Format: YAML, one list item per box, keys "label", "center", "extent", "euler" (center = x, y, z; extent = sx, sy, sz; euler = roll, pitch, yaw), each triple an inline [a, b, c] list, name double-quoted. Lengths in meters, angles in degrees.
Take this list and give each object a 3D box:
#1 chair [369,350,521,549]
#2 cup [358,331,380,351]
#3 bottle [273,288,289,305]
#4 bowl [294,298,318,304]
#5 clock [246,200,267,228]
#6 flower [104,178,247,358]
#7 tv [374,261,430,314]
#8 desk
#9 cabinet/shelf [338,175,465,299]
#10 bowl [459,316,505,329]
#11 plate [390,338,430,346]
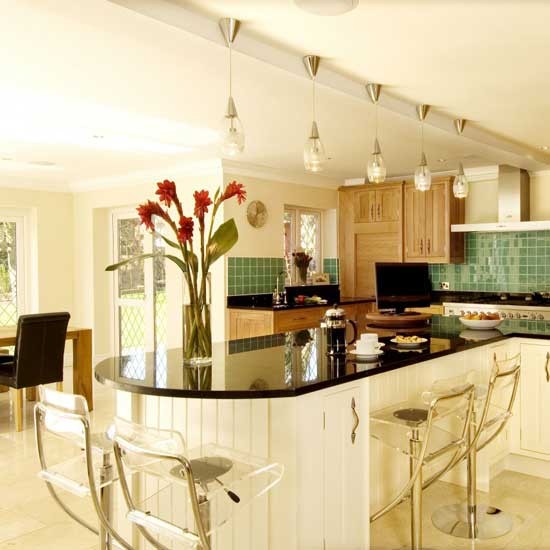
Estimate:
- label: "chair"
  center: [0.795, 0.857, 2.479]
  extent: [0.376, 0.801, 0.924]
  euler: [0, 0, 38]
- label: "cup"
  center: [0.429, 0.302, 2.338]
  extent: [0.093, 0.067, 0.072]
  euler: [3, 4, 40]
- label: "bottle"
  center: [0.062, 0.244, 5.758]
  extent: [0.165, 0.173, 0.138]
  euler: [2, 6, 16]
- label: "bowl"
  center: [0.321, 0.296, 5.764]
  extent: [0.113, 0.059, 0.116]
  euler: [-3, -5, 0]
- label: "clock"
  center: [-0.217, -0.693, 5.809]
  extent: [0.025, 0.310, 0.312]
  euler: [0, 6, 35]
- label: "flower"
  center: [-0.348, 0.010, 2.122]
  extent: [0.415, 0.724, 0.590]
  euler: [1, 3, 40]
- label: "tv"
  center: [0.883, 0.089, 3.494]
  extent: [0.130, 0.342, 0.472]
  euler: [-5, 1, -33]
- label: "desk"
  center: [-2.007, 0.811, 4.593]
  extent: [0.793, 0.835, 0.772]
  euler: [1, -3, -33]
- label: "cabinet/shelf"
  center: [1.490, -0.471, 5.855]
  extent: [1.536, 1.585, 0.461]
  euler: [-1, -1, 43]
- label: "bowl"
  center: [1.310, 0.309, 3.278]
  extent: [0.229, 0.084, 0.240]
  euler: [1, 3, 0]
- label: "plate"
  center: [0.675, 0.341, 2.620]
  extent: [0.172, 0.040, 0.094]
  euler: [2, 3, 25]
